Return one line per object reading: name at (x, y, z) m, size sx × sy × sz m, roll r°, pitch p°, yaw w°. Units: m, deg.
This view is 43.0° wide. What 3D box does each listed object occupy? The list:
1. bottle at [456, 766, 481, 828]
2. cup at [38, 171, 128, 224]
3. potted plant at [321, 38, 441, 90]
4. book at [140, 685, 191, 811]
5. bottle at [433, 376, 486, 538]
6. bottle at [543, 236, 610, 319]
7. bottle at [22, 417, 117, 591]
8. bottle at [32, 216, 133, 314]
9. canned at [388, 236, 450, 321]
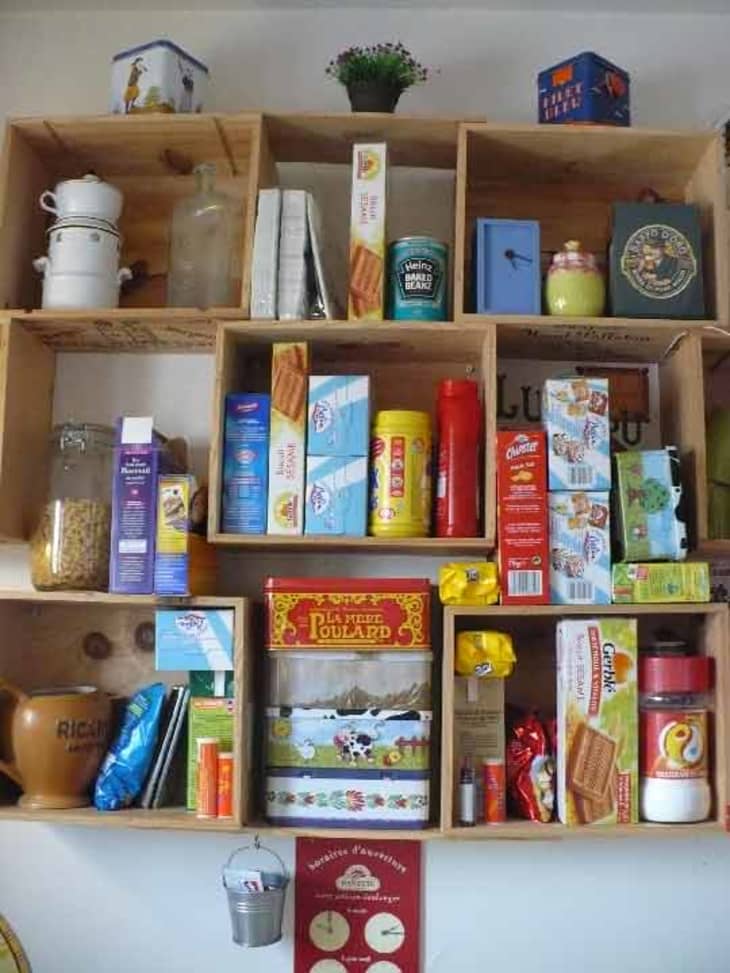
bottle at (0.184, 0.552, 1.655) m, size 0.042 × 0.099 × 0.081 m, roll -2°, pitch 6°, yaw 6°
cup at (-0.569, -0.553, 1.878) m, size 0.154 × 0.102 × 0.115 m, roll 1°, pitch -4°, yaw -23°
potted plant at (0.029, -0.839, 1.936) m, size 0.200 × 0.093 × 0.200 m, roll 0°, pitch 0°, yaw 0°
book at (-0.382, 0.491, 1.759) m, size 0.107 × 0.225 × 0.100 m, roll -5°, pitch 6°, yaw -18°
bottle at (0.177, -0.055, 1.762) m, size 0.097 × 0.288 × 0.196 m, roll -2°, pitch 6°, yaw 7°
bottle at (0.396, -0.388, 1.755) m, size 0.109 × 0.148 × 0.090 m, roll -1°, pitch 6°, yaw 11°
bottle at (-0.576, 0.037, 1.839) m, size 0.169 × 0.313 × 0.266 m, roll -4°, pitch 6°, yaw -15°
bottle at (-0.556, -0.416, 1.837) m, size 0.205 × 0.180 × 0.160 m, roll 0°, pitch -4°, yaw -21°
canned at (0.093, -0.380, 1.756) m, size 0.160 × 0.160 × 0.146 m, roll 0°, pitch 1°, yaw 0°
